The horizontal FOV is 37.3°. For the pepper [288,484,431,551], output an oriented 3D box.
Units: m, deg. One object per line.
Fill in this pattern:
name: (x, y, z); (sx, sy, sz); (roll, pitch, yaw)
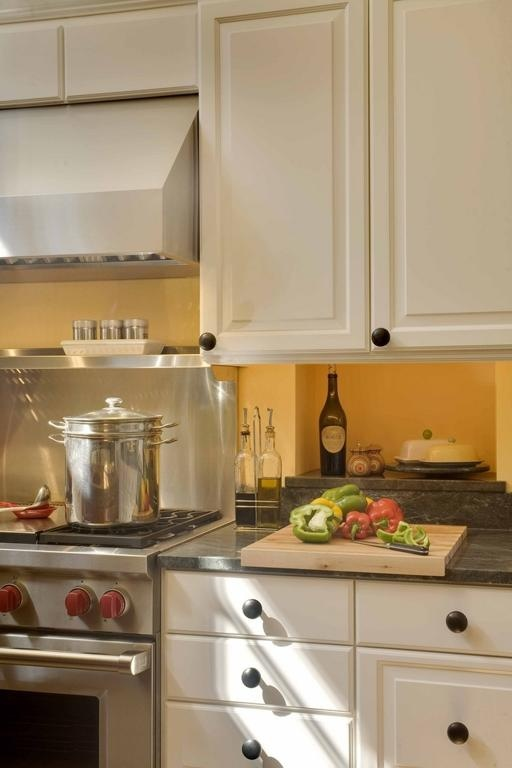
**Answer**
pepper: (0.203, 0.281, 1.606); (0.205, 0.121, 0.073); (3, -43, 1)

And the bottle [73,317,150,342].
bottle: (-0.402, -0.152, 2.119); (0.210, 0.048, 0.136); (-1, -1, -12)

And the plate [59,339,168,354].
plate: (-0.407, -0.103, 2.131); (0.279, 0.035, 0.110); (-2, -1, 7)

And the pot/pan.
pot/pan: (-0.296, 0.183, 1.789); (0.367, 0.309, 0.247); (0, -2, 0)

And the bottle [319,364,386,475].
bottle: (0.233, 0.099, 2.100); (0.174, 0.259, 0.211); (-2, -1, -17)

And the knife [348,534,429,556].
knife: (0.255, 0.310, 1.493); (0.170, 0.022, 0.038); (1, 3, 26)
